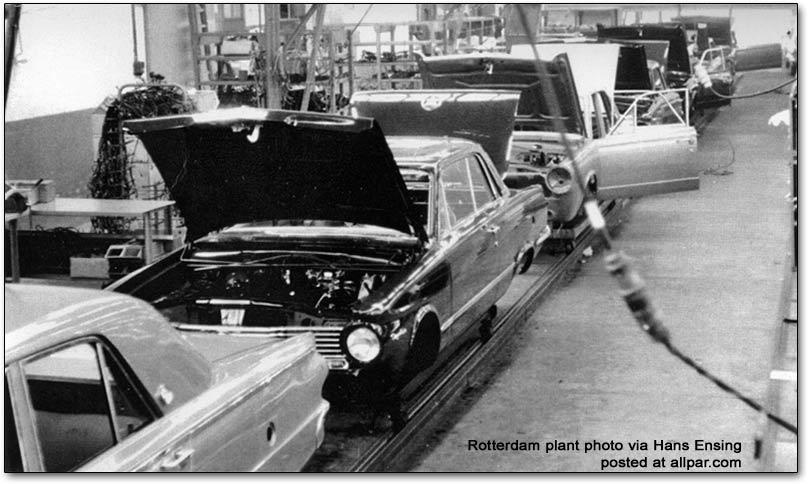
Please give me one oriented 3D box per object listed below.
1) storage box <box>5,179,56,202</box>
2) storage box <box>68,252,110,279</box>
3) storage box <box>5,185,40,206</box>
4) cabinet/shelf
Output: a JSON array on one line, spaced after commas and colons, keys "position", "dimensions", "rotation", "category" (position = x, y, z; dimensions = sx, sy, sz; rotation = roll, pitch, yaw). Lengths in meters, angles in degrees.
[{"position": [-4.851, -0.693, 8.679], "dimensions": [0.419, 0.155, 0.421], "rotation": [6, 8, 36], "category": "storage box"}, {"position": [-4.119, 0.349, 8.721], "dimensions": [0.614, 0.270, 0.306], "rotation": [3, 20, -1], "category": "storage box"}, {"position": [-4.846, -0.613, 8.467], "dimensions": [0.354, 0.156, 0.342], "rotation": [13, 39, 40], "category": "storage box"}, {"position": [-0.199, -3.284, 11.916], "dimensions": [6.171, 1.843, 1.832], "rotation": [0, 0, -15], "category": "cabinet/shelf"}]
